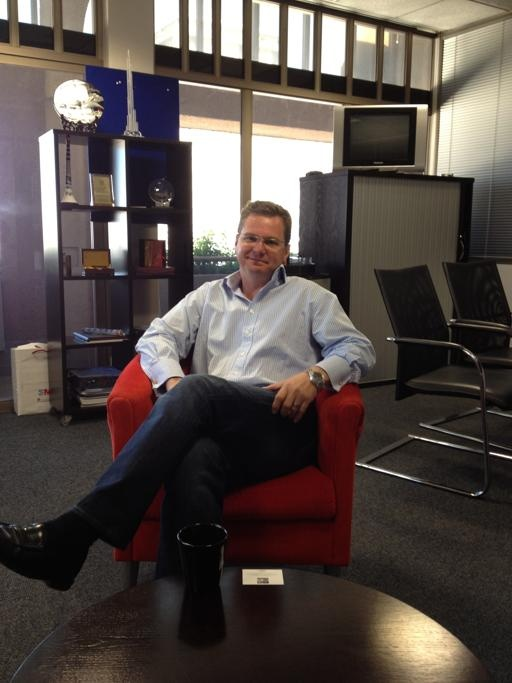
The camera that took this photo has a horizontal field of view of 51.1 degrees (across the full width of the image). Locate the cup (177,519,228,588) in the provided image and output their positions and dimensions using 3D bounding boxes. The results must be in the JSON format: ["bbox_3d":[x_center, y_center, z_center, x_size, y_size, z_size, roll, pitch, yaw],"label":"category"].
[{"bbox_3d":[-0.083,0.335,0.842,0.090,0.099,0.097,0,-3,0],"label":"cup"}]

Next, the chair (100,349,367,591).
[{"bbox_3d":[-0.038,0.309,1.513,0.599,0.570,0.582,1,-7,0],"label":"chair"}]

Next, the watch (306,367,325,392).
[{"bbox_3d":[0.183,0.113,1.571,0.046,0.059,0.023,2,-30,-10],"label":"watch"}]

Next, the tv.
[{"bbox_3d":[0.997,-1.619,4.265,0.870,0.592,0.471,0,3,1],"label":"tv"}]

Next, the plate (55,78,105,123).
[{"bbox_3d":[-1.063,-1.415,3.245,0.234,0.197,0.273,1,3,3],"label":"plate"}]
